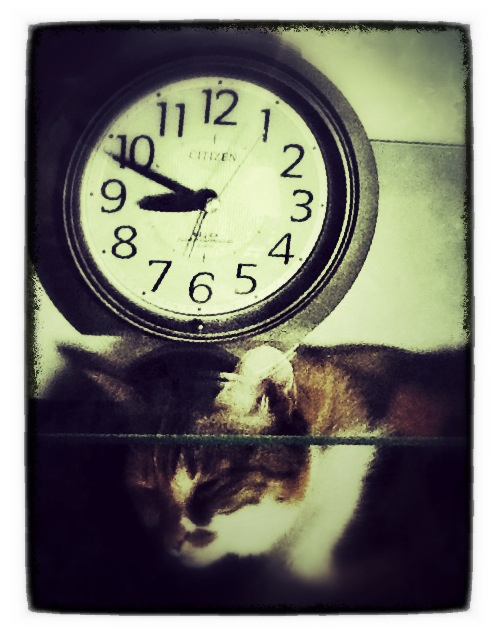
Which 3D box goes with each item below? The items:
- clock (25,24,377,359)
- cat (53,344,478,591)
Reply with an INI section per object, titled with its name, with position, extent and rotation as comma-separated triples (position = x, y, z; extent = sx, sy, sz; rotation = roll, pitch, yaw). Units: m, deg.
[clock]
position = -0.110, -0.305, 2.711
extent = 0.829, 0.090, 0.769
rotation = 8, 84, -3
[cat]
position = 0.160, 0.339, 2.820
extent = 1.203, 0.453, 0.658
rotation = -1, 80, -31
